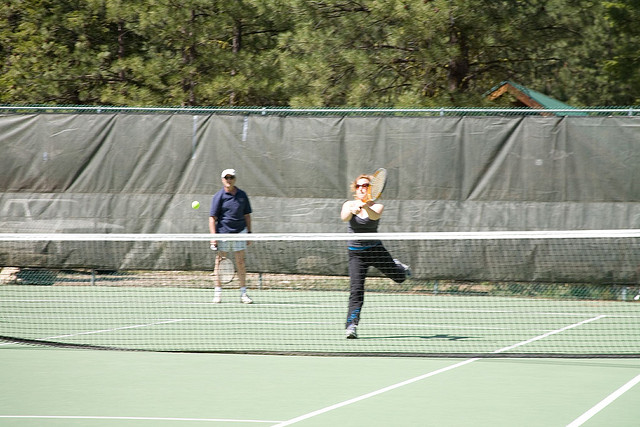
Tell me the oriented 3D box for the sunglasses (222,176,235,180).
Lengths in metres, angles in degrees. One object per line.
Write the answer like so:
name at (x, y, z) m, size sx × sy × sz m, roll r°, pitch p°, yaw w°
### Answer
sunglasses at (-1.495, -0.594, 12.959) m, size 0.150 × 0.070 × 0.045 m, roll -14°, pitch 47°, yaw -17°

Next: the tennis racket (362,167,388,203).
tennis racket at (0.818, -0.406, 11.199) m, size 0.188 × 0.320 × 0.484 m, roll 10°, pitch 57°, yaw 8°

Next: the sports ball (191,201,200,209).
sports ball at (-2.370, -0.167, 14.954) m, size 0.170 × 0.079 × 0.115 m, roll -5°, pitch 73°, yaw 21°

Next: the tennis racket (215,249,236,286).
tennis racket at (-1.584, 0.953, 13.062) m, size 0.363 × 0.145 × 0.426 m, roll 8°, pitch 39°, yaw -21°
